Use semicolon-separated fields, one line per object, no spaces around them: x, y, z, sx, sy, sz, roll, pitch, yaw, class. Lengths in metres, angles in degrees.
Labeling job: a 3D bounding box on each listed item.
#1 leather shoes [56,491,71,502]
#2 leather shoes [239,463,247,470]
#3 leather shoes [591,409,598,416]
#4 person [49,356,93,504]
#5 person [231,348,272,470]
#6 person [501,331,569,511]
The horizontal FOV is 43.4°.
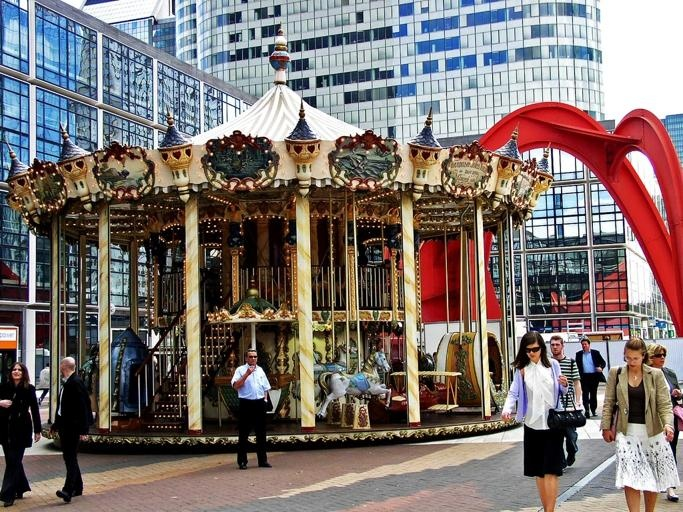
-4.168;3.606;12.894;0.121;0.109;0.239;-5;-42;16;leather shoes
-1.718;3.662;14.997;0.142;0.113;0.299;0;-8;-9;leather shoes
6.515;4.022;21.953;0.124;0.197;0.222;0;-12;3;leather shoes
-4.247;2.691;13.510;0.547;2.193;1.190;1;-8;-17;person
-1.593;2.708;15.325;0.651;2.073;0.555;0;-7;-7;person
2.595;2.152;11.282;0.780;2.285;0.431;-3;-8;16;person
